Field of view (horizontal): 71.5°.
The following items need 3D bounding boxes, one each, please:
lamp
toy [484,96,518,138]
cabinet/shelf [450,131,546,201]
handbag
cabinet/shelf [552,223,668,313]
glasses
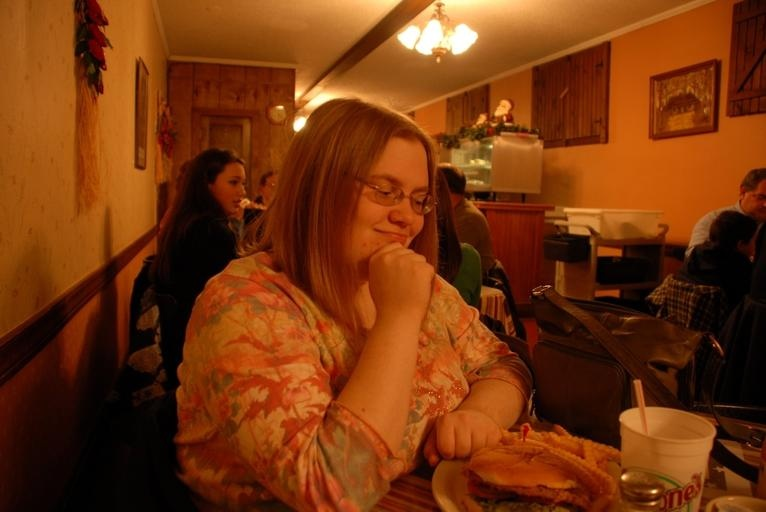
[{"bbox_3d":[0.545,-2.156,5.511,0.798,0.775,0.902,2,13,14],"label":"lamp"},{"bbox_3d":[1.654,-1.802,7.484,0.318,0.808,0.298,13,8,32],"label":"toy"},{"bbox_3d":[1.670,-1.260,7.723,0.773,0.864,1.405,2,5,-9],"label":"cabinet/shelf"},{"bbox_3d":[0.756,0.319,1.735,0.472,0.520,0.407,-12,11,-17],"label":"handbag"},{"bbox_3d":[2.169,0.084,5.052,0.765,0.921,0.503,-2,8,-23],"label":"cabinet/shelf"},{"bbox_3d":[0.031,-0.171,1.565,0.208,0.073,0.241,7,4,-16],"label":"glasses"}]
